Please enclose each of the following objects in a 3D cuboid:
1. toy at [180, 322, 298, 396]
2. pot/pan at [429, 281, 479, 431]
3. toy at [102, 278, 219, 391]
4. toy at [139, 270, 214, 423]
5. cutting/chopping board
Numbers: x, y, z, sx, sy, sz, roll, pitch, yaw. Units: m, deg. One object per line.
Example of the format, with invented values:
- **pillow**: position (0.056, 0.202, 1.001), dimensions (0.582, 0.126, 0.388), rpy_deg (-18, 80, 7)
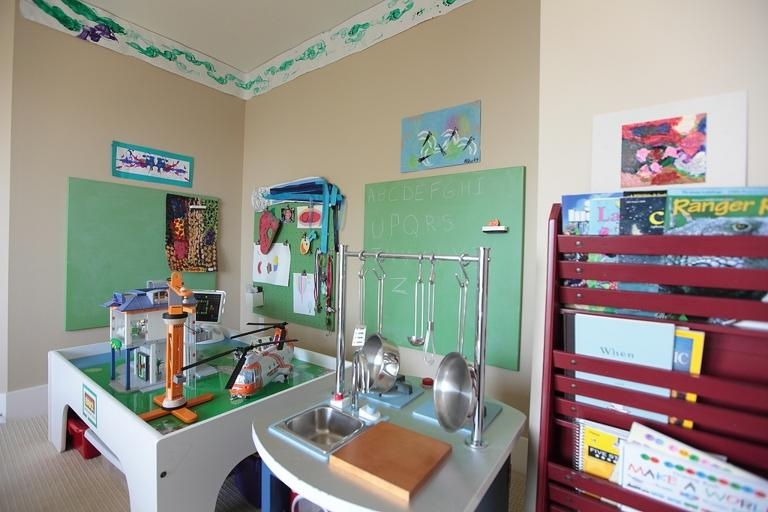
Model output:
- **toy**: position (-0.819, 0.619, 3.026), dimensions (0.370, 0.134, 0.552), rpy_deg (10, 22, 25)
- **pot/pan**: position (0.338, 0.569, 2.428), dimensions (0.200, 0.558, 0.188), rpy_deg (-1, 2, 5)
- **toy**: position (-1.403, 0.490, 3.197), dimensions (0.462, 0.576, 0.618), rpy_deg (-4, -4, 44)
- **toy**: position (-1.151, 0.475, 2.782), dimensions (0.468, 0.768, 0.468), rpy_deg (-1, 3, -39)
- **cutting/chopping board**: position (0.031, 0.943, 2.320), dimensions (0.455, 0.214, 0.327), rpy_deg (0, 3, 29)
